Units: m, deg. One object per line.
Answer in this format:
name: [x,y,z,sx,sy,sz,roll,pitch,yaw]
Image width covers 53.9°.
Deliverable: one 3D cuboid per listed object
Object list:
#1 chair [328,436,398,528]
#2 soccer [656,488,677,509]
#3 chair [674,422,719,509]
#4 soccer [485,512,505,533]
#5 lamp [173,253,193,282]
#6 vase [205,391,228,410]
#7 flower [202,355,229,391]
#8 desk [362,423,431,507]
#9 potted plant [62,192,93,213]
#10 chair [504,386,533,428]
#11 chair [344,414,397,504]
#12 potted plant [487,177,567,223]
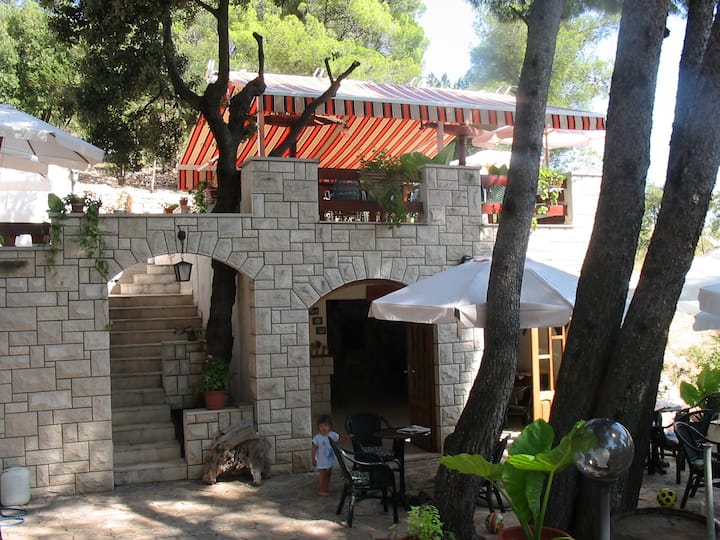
chair: [0.102,3.237,11.098,1.000,1.342,0.994,-3,-1,-29]
soccer: [4.733,3.526,10.930,0.271,0.306,0.365,2,11,25]
chair: [5.135,3.021,11.064,0.429,1.398,0.972,2,11,26]
soccer: [1.947,3.632,10.181,0.234,0.313,0.261,6,-7,1]
lamp: [-3.377,-0.044,13.696,0.265,0.495,0.918,-5,10,-11]
vase: [-2.722,2.436,13.412,0.374,0.292,0.388,1,-1,-21]
flower: [-2.755,1.940,13.501,0.487,0.637,0.440,-3,-3,-28]
desk: [0.878,3.113,11.772,1.043,1.272,1.030,-2,3,-20]
potted plant: [-4.966,-1.201,12.568,0.357,0.293,0.402,-1,-3,-13]
chair: [3.400,2.949,15.369,0.648,0.893,0.858,-3,-14,25]
chair: [0.211,2.992,11.926,0.800,1.151,0.893,-2,-7,-7]
potted plant: [3.708,-1.557,15.688,2.477,1.220,0.778,-11,12,-37]
